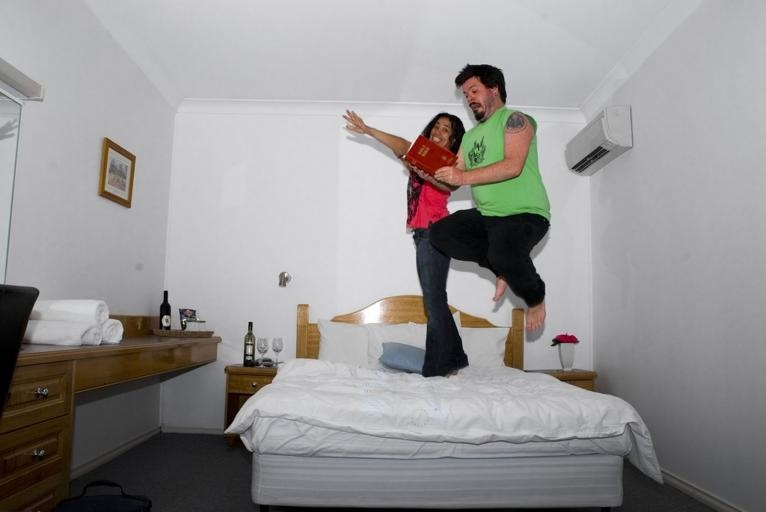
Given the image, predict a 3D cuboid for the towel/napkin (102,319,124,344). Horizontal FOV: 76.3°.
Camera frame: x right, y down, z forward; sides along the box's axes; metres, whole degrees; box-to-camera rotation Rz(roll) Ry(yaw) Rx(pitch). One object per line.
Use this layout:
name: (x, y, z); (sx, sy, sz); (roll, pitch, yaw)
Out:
towel/napkin: (-1.743, 0.490, 3.140); (0.107, 0.147, 0.046); (6, -4, -30)

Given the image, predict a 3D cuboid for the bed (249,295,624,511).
bed: (0.316, 1.066, 3.477); (1.534, 0.721, 1.493); (0, -8, -1)

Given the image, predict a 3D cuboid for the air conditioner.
air conditioner: (1.887, -1.003, 4.360); (0.238, 0.399, 0.735); (4, -11, -5)

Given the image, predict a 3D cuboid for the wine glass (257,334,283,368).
wine glass: (-0.994, 0.843, 4.290); (0.227, 0.241, 0.108); (2, -11, -9)

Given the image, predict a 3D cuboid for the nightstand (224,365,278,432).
nightstand: (-1.104, 1.160, 4.258); (0.615, 0.610, 0.452); (1, -8, -4)

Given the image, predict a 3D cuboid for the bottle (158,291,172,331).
bottle: (-1.927, 0.483, 4.321); (0.099, 0.337, 0.412); (3, -3, -24)

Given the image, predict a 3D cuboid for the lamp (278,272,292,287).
lamp: (-0.911, 0.224, 4.509); (0.130, 0.177, 0.122); (1, -4, -7)

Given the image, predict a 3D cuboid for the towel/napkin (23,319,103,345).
towel/napkin: (-1.877, 0.445, 2.826); (0.238, 0.081, 0.241); (2, -1, 5)
